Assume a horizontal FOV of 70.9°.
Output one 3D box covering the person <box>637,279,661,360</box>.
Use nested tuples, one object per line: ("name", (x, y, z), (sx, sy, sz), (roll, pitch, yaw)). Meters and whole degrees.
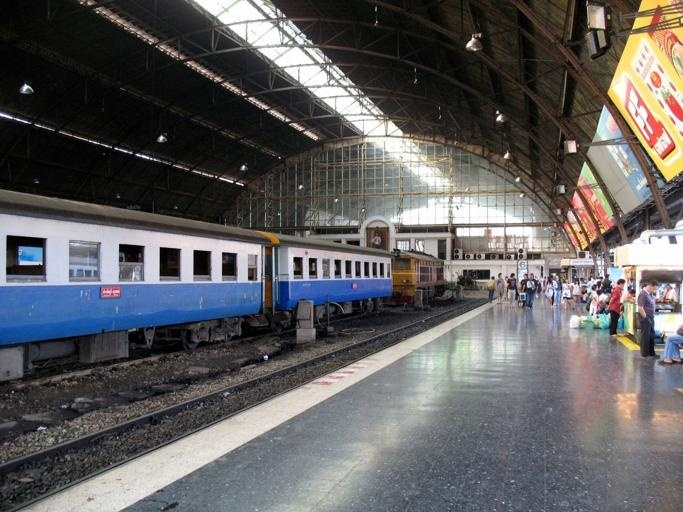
("person", (8.021, 1.633, 12.489), (0.488, 1.915, 0.296), (0, -2, -24))

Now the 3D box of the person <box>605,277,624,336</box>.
("person", (9.662, 1.749, 16.736), (0.532, 1.951, 1.274), (-2, -2, 29))

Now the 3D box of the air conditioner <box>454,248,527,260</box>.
("air conditioner", (17.253, -0.216, 57.386), (7.273, 1.346, 1.212), (-2, -2, 13))
